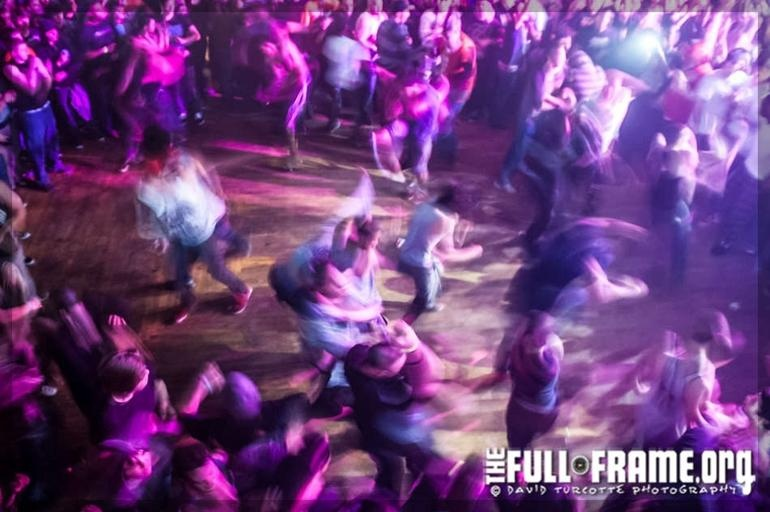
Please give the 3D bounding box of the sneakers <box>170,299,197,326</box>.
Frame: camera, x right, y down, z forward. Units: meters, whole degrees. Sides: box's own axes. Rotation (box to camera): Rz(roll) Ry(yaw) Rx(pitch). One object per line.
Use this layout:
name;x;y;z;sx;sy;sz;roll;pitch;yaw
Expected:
sneakers;-1.660;0.465;5.152;0.212;0.176;0.105;1;15;-19

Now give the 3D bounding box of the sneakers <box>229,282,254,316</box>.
sneakers;-1.194;0.364;5.214;0.132;0.249;0.105;15;3;21

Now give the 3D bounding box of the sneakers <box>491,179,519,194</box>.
sneakers;1.168;-0.670;6.071;0.182;0.119;0.043;23;-14;13
